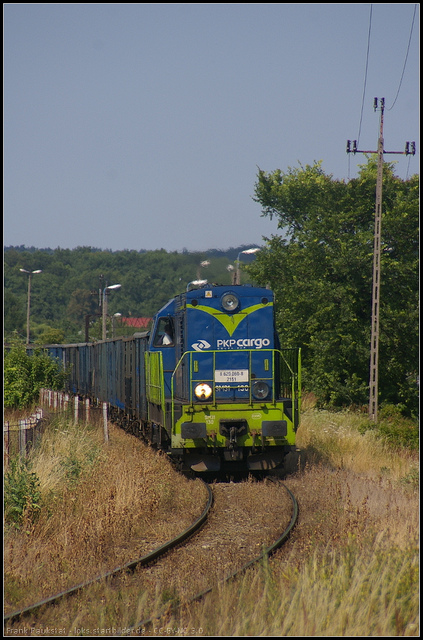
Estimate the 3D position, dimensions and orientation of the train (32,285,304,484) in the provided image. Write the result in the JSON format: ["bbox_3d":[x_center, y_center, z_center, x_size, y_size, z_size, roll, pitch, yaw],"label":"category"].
[{"bbox_3d":[-0.899,1.139,19.430,1.995,4.020,14.892,0,-1,-11],"label":"train"}]

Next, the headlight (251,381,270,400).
[{"bbox_3d":[0.769,1.143,12.519,0.272,0.276,0.115,-1,1,2],"label":"headlight"}]

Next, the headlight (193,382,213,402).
[{"bbox_3d":[-0.124,1.163,12.526,0.342,0.280,0.327,-1,1,-21],"label":"headlight"}]
